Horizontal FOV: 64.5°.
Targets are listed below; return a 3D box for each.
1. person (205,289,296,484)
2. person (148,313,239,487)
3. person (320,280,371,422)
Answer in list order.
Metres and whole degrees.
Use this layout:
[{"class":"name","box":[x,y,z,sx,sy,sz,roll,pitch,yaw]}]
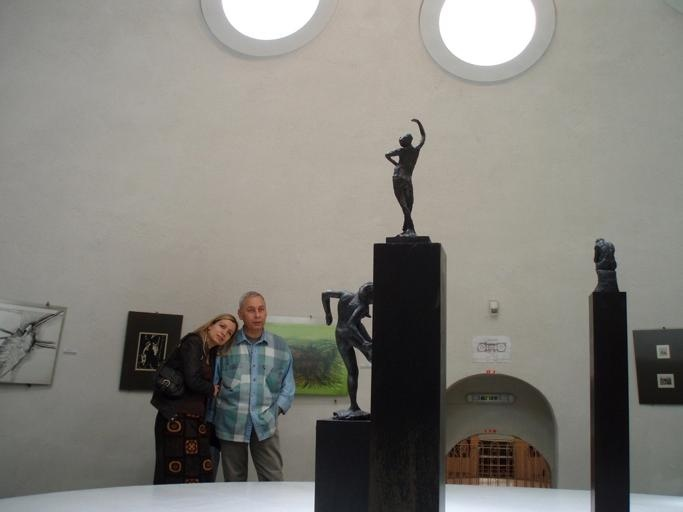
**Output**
[{"class":"person","box":[-1.048,1.729,6.077,0.853,2.641,0.677,3,5,2]},{"class":"person","box":[-1.549,1.450,5.634,0.799,1.715,0.590,7,-15,-20]},{"class":"person","box":[0.036,0.723,4.382,0.407,1.089,0.926,1,-15,1]}]
